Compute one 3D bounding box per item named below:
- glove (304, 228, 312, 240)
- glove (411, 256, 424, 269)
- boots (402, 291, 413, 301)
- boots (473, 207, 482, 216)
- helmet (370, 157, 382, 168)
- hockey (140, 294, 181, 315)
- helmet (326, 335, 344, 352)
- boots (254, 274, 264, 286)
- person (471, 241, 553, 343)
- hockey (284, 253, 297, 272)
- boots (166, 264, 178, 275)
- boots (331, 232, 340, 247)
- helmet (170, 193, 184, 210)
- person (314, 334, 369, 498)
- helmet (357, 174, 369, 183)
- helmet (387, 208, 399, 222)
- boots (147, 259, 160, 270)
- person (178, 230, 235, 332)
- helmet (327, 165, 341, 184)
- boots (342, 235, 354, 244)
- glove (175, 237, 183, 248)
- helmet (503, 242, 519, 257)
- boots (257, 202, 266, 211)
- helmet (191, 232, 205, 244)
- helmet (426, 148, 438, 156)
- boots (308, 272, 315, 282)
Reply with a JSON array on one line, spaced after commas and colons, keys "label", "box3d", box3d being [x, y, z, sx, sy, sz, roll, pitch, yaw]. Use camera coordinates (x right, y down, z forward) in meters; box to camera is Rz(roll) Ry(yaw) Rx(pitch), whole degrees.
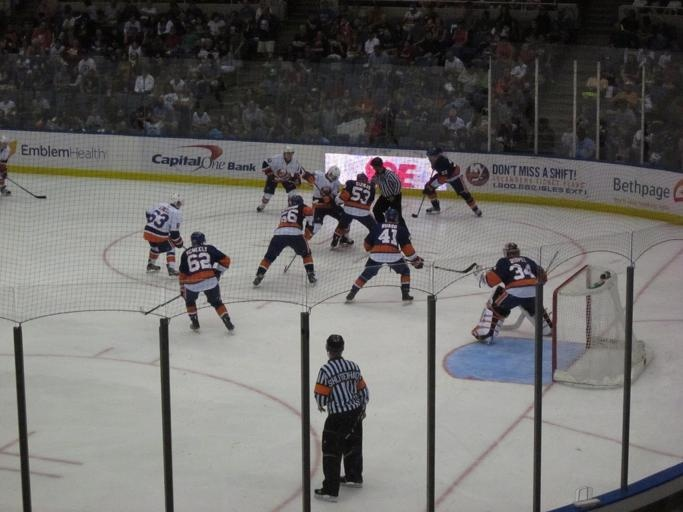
[{"label": "glove", "box3d": [-0.516, -0.333, 14.959, 0.127, 0.058, 0.161, 6, 47, -1]}, {"label": "glove", "box3d": [1.016, 0.081, 12.907, 0.099, 0.078, 0.242, 24, 22, -8]}, {"label": "boots", "box3d": [0.912, 0.525, 13.116, 0.155, 0.153, 0.264, 1, 9, 5]}, {"label": "boots", "box3d": [2.433, -0.803, 17.126, 0.193, 0.183, 0.527, -4, 2, 6]}, {"label": "helmet", "box3d": [0.572, -1.517, 15.545, 0.144, 0.157, 0.185, 0, 4, -3]}, {"label": "hockey", "box3d": [-2.397, 0.640, 12.643, 0.095, 0.089, 0.652, 16, -34, -42]}, {"label": "helmet", "box3d": [-0.063, 0.877, 9.841, 0.155, 0.166, 0.182, 1, 21, 1]}, {"label": "boots", "box3d": [-1.181, 0.335, 13.485, 0.056, 0.148, 0.117, 32, -10, -16]}, {"label": "person", "box3d": [2.183, 0.506, 12.216, 1.110, 1.072, 0.723, -10, 19, -15]}, {"label": "hockey", "box3d": [-0.780, 0.101, 14.690, 0.107, 0.350, 0.036, 39, 28, -17]}, {"label": "boots", "box3d": [-2.562, 0.181, 14.466, 0.154, 0.152, 0.216, -2, 9, -13]}, {"label": "boots", "box3d": [-0.086, -0.269, 15.377, 0.096, 0.196, 0.304, 8, 11, 8]}, {"label": "helmet", "box3d": [-2.544, -0.853, 14.682, 0.176, 0.234, 0.272, -2, 9, -10]}, {"label": "person", "box3d": [-0.011, 1.611, 9.667, 0.469, 1.567, 0.523, 2, 10, 13]}, {"label": "helmet", "box3d": [0.348, -1.241, 15.247, 0.176, 0.150, 0.123, -5, 15, -5]}, {"label": "helmet", "box3d": [0.719, -0.585, 13.614, 0.185, 0.192, 0.219, -3, 9, -3]}, {"label": "boots", "box3d": [-2.885, 0.121, 14.529, 0.222, 0.139, 0.115, -6, 23, -23]}, {"label": "person", "box3d": [-1.752, 0.343, 12.389, 0.676, 1.228, 0.853, -2, 9, -10]}, {"label": "helmet", "box3d": [-0.123, -1.370, 15.416, 0.207, 0.270, 0.271, 4, 36, -3]}, {"label": "boots", "box3d": [0.107, -0.298, 15.685, 0.201, 0.179, 0.093, -4, 41, -11]}, {"label": "glove", "box3d": [-2.455, -0.207, 14.434, 0.117, 0.114, 0.133, -5, 6, -6]}, {"label": "helmet", "box3d": [2.233, -0.095, 12.429, 0.171, 0.183, 0.185, 3, 3, -16]}, {"label": "boots", "box3d": [-1.463, -0.888, 17.351, 0.087, 0.094, 0.157, 4, 24, 0]}, {"label": "helmet", "box3d": [-1.929, -0.263, 12.717, 0.165, 0.163, 0.131, 3, 11, -36]}, {"label": "helmet", "box3d": [1.616, -1.851, 16.942, 0.166, 0.080, 0.211, -2, 16, 0]}, {"label": "boots", "box3d": [-0.417, 0.295, 13.533, 0.147, 0.130, 0.081, -1, 18, 3]}]
